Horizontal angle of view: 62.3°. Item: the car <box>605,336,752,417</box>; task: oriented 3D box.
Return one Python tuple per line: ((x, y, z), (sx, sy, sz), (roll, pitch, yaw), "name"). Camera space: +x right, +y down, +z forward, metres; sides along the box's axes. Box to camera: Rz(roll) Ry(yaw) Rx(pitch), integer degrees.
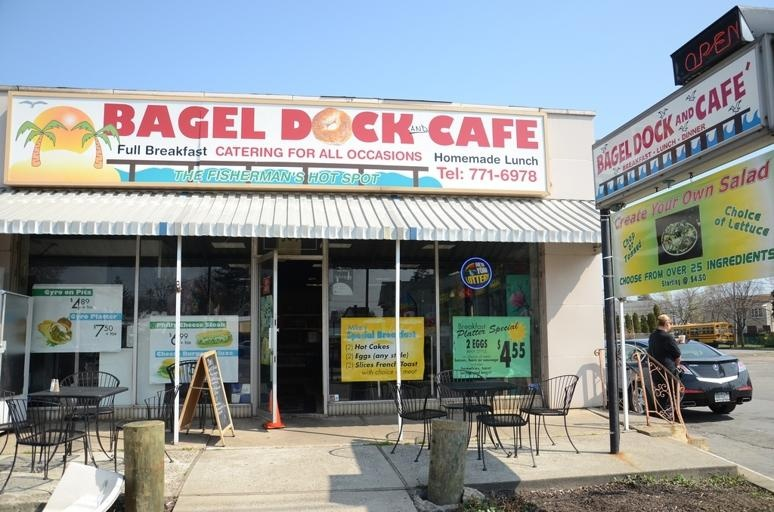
((6.810, 2.708, 14.622), (1.560, 1.094, 3.330), (0, -3, -2), "car")
